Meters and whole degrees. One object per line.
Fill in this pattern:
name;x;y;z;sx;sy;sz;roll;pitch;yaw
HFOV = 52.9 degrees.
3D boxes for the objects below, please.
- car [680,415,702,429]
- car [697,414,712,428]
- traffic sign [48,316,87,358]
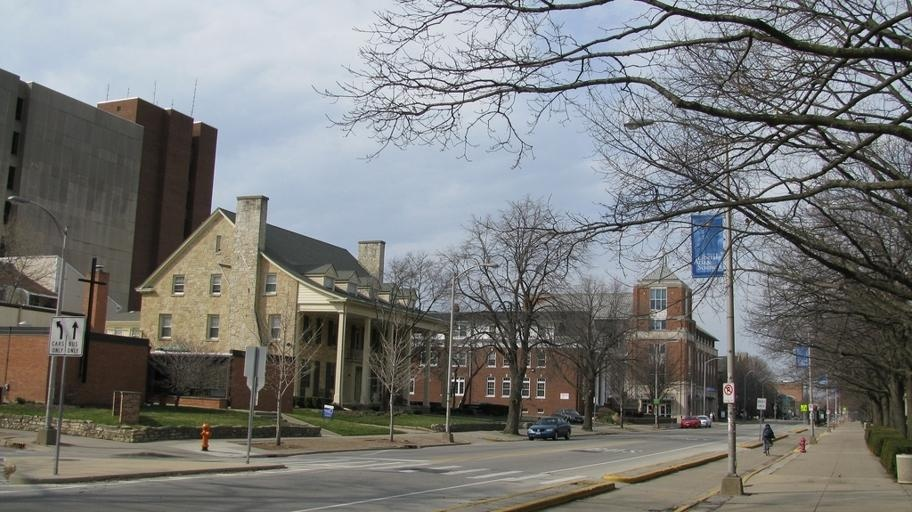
car;27.266;19.363;106.817;1.536;0.999;2.712;-7;-20;25
car;30.313;20.065;111.286;1.246;0.914;2.990;-5;-18;17
traffic sign;-18.043;3.740;42.407;1.847;1.819;0.221;1;-5;13
